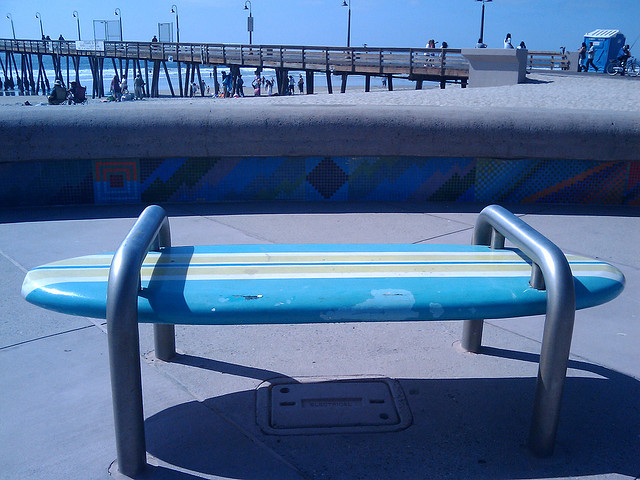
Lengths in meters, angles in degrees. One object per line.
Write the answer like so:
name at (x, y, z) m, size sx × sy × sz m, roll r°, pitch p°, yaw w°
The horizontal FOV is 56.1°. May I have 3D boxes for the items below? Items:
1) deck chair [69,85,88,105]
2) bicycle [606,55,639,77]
deck chair at (-9.644, -5.726, 24.128) m, size 0.298 × 0.715 × 1.954 m, roll -6°, pitch 17°, yaw -13°
bicycle at (15.967, -9.073, 31.741) m, size 1.523 × 0.911 × 1.614 m, roll 6°, pitch 18°, yaw 23°
